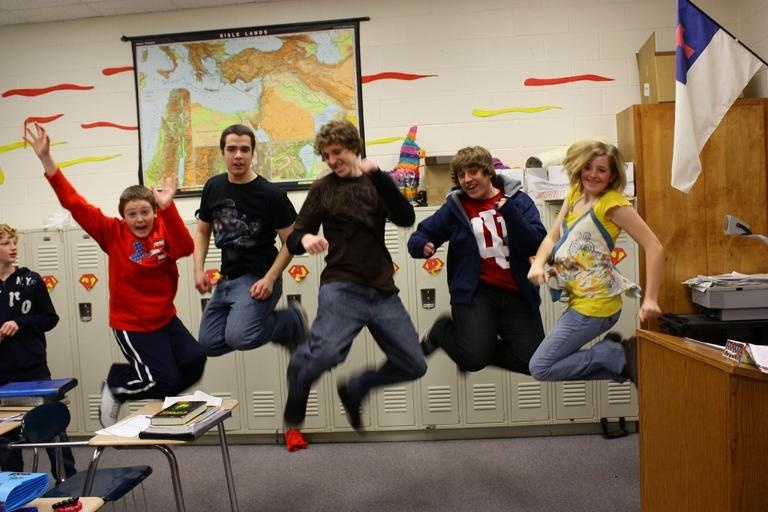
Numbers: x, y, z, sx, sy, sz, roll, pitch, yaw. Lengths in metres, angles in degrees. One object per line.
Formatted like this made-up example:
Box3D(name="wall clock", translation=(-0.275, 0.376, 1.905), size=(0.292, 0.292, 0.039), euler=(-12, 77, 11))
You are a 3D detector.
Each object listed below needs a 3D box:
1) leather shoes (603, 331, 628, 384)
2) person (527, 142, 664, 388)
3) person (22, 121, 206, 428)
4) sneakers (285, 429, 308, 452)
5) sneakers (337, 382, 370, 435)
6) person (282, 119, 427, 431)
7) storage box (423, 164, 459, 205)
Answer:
Box3D(name="leather shoes", translation=(1.744, 0.730, 4.564), size=(0.111, 0.295, 0.236), euler=(-4, -14, 23))
Box3D(name="person", translation=(1.505, 0.078, 4.306), size=(0.853, 1.757, 0.522), euler=(2, 13, 24))
Box3D(name="person", translation=(-1.945, 0.159, 4.530), size=(1.014, 2.097, 0.609), euler=(1, 13, 21))
Box3D(name="sneakers", translation=(-0.820, 1.693, 5.555), size=(0.192, 0.076, 0.187), euler=(-1, 41, -23))
Box3D(name="sneakers", translation=(-0.246, 1.071, 4.565), size=(0.133, 0.384, 0.155), euler=(-1, 31, 15))
Box3D(name="person", translation=(-0.256, 0.334, 4.338), size=(1.014, 2.052, 0.402), euler=(-6, 12, -10))
Box3D(name="storage box", translation=(0.529, -0.627, 5.592), size=(0.320, 0.233, 0.417), euler=(-1, 46, 5))
